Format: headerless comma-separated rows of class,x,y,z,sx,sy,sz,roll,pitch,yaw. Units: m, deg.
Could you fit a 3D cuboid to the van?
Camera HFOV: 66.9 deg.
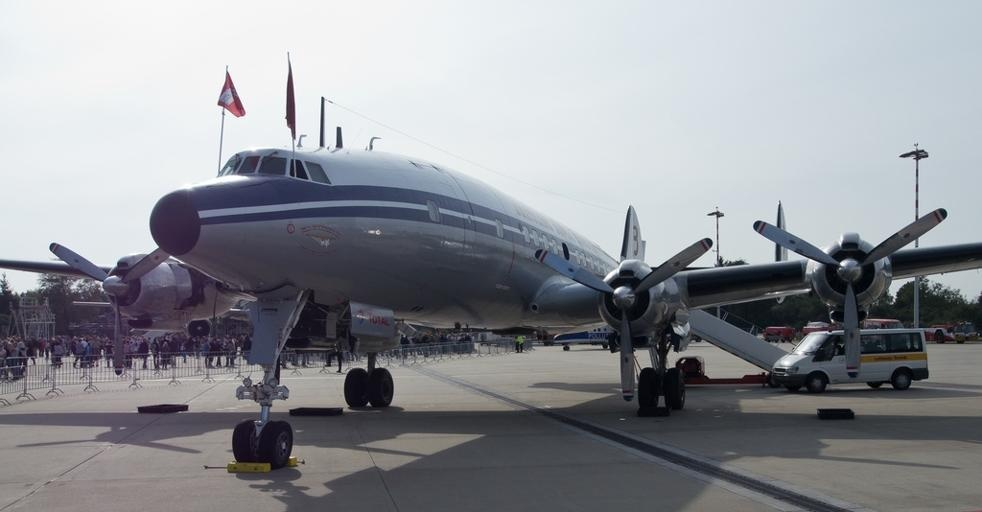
van,14.001,4.094,29.508,5.950,2.014,2.638,1,-6,-5
